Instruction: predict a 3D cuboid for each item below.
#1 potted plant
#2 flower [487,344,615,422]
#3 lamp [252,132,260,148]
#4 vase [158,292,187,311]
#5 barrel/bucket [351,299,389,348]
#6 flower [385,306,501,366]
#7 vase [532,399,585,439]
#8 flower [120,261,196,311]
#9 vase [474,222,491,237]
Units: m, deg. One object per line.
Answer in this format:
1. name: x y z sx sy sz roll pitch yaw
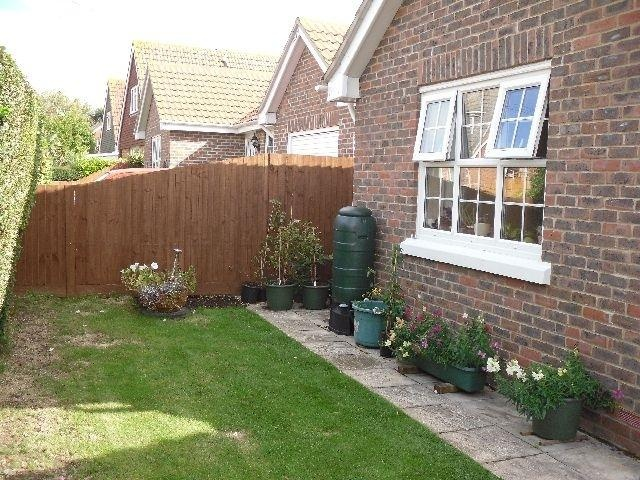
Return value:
1. potted plant: -0.699 0.255 10.224 1.600 1.970 1.371 0 10 -6
2. flower: 2.401 1.469 5.462 0.719 0.595 0.985 1 -2 -39
3. lamp: -2.217 -3.427 17.983 0.256 0.491 0.512 1 10 -3
4. vase: -2.523 1.040 9.023 0.211 0.333 0.500 8 12 36
5. barrel/bucket: 0.694 1.232 7.825 0.536 0.606 0.598 2 -2 -28
6. flower: 1.482 1.253 6.630 0.686 0.467 0.966 1 -1 -17
7. vase: 2.410 1.818 5.352 0.396 0.361 0.433 3 -2 -32
8. flower: -2.827 0.789 9.282 0.880 0.763 1.004 2 2 42
9. vase: 2.154 -0.150 6.962 0.151 0.136 0.155 2 -1 3
